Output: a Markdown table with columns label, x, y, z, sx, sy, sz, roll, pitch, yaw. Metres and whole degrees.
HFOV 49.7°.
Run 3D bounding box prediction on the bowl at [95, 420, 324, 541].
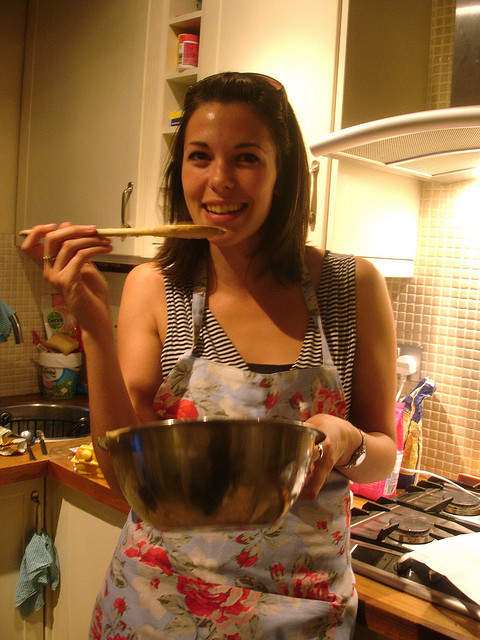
| label | x | y | z | sx | sy | sz | roll | pitch | yaw |
| --- | --- | --- | --- | --- | --- | --- | --- | --- | --- |
| bowl | -0.027 | 0.123 | 0.419 | 0.185 | 0.099 | 0.078 | 1 | 1 | 7 |

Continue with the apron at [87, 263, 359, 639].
| label | x | y | z | sx | sy | sz | roll | pitch | yaw |
| --- | --- | --- | --- | --- | --- | --- | --- | --- | --- |
| apron | -0.035 | 0.201 | 0.753 | 0.405 | 0.584 | 0.230 | 1 | 1 | 13 |
